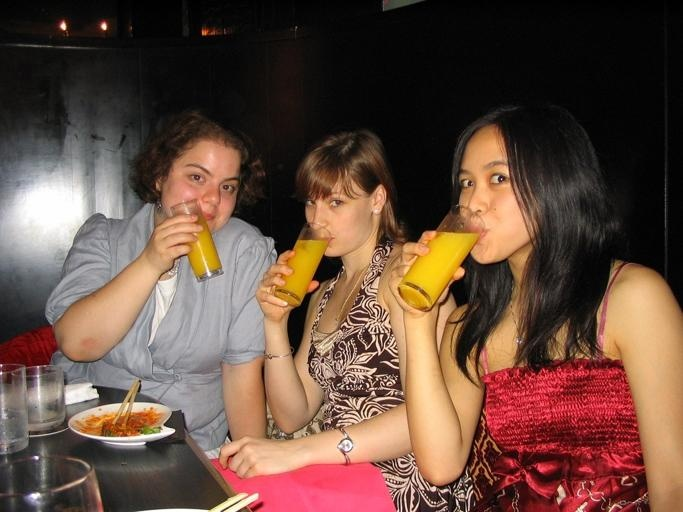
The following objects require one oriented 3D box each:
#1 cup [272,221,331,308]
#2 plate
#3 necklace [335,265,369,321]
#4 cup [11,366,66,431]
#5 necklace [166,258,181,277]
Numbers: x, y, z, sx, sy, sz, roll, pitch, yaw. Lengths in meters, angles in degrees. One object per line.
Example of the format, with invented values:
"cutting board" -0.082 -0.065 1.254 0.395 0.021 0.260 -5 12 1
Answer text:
"cup" -0.175 0.041 2.295 0.222 0.366 0.149 -5 5 -30
"plate" -0.715 0.551 1.675 0.282 0.059 0.344 -4 3 -29
"necklace" 0.045 0.196 2.444 0.064 0.341 0.094 39 -26 -22
"cup" -0.993 0.489 1.726 0.133 0.198 0.125 -6 -9 -1
"necklace" -0.807 0.063 2.492 0.042 0.092 0.069 22 21 37
